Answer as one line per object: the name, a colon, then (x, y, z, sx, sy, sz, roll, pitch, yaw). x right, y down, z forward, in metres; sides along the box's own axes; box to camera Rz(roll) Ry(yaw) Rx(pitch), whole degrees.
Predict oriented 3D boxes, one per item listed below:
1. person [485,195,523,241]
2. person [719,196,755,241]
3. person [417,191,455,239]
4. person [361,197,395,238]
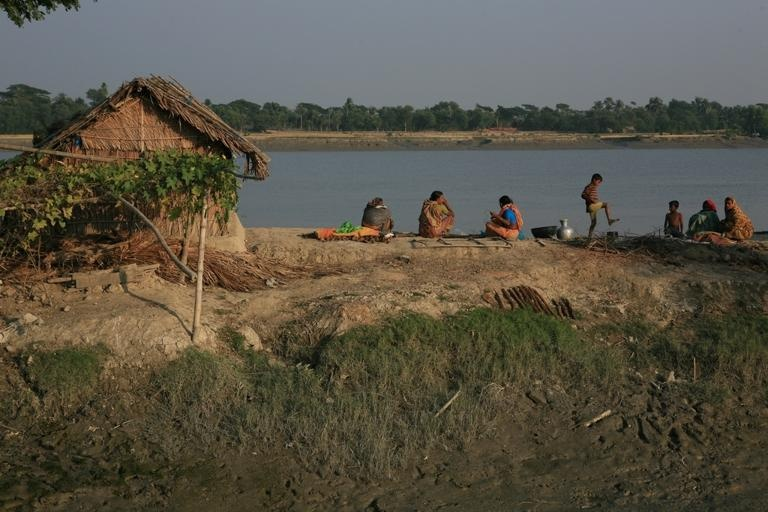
person: (2.981, -0.912, 18.009, 0.887, 1.055, 0.797, 9, 7, 18)
person: (8.546, -0.869, 17.627, 0.655, 1.054, 0.614, 3, 4, 26)
person: (1.259, -1.009, 18.182, 0.784, 1.126, 0.784, 3, 5, 31)
person: (-0.163, -0.949, 18.697, 0.800, 0.982, 0.714, 12, 16, 37)
